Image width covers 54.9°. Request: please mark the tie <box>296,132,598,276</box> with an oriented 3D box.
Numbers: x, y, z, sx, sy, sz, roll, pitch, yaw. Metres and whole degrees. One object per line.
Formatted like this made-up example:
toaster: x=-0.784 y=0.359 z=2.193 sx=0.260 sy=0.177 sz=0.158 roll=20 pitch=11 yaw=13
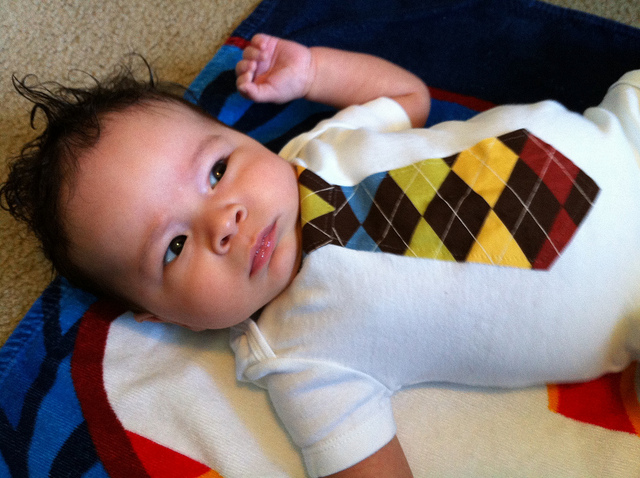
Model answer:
tie: x=0.219 y=-0.076 z=1.098 sx=0.522 sy=0.066 sz=0.245 roll=6 pitch=86 yaw=3
